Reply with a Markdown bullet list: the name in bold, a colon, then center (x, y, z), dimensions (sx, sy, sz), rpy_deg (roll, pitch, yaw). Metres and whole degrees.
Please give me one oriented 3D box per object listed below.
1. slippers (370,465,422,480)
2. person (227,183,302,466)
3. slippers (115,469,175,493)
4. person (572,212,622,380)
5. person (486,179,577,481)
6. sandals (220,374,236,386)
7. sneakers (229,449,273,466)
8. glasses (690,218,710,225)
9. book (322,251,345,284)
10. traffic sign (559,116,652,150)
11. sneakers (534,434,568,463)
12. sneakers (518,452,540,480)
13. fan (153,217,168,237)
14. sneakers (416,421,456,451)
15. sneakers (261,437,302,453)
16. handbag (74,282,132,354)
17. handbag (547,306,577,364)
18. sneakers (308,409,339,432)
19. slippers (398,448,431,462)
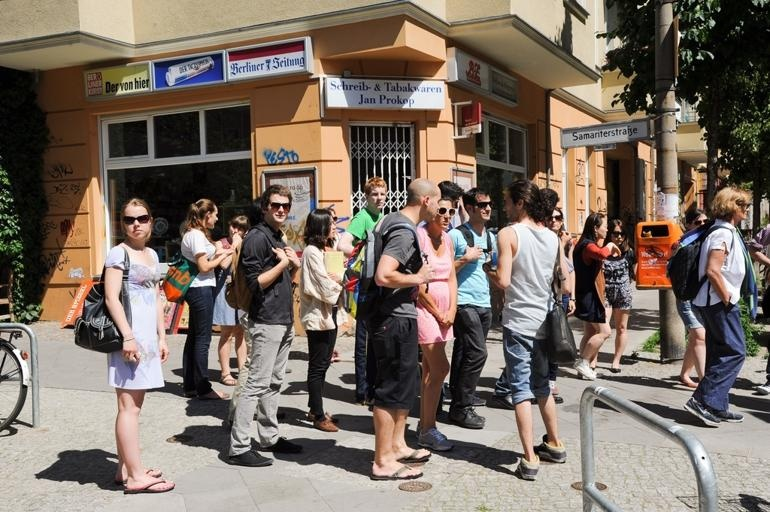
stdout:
- **slippers**: center (0.130, 2.131, 7.233), dimensions (0.387, 0.106, 0.191), rpy_deg (-2, 1, -1)
- **person**: center (-1.266, 0.701, 7.695), dimensions (0.661, 2.860, 0.939), rpy_deg (3, 9, 22)
- **slippers**: center (-2.335, 2.248, 7.115), dimensions (0.379, 0.140, 0.252), rpy_deg (0, 3, -16)
- **person**: center (2.934, 0.560, 10.208), dimensions (0.530, 2.293, 0.721), rpy_deg (1, 9, 14)
- **person**: center (1.493, 0.711, 7.444), dimensions (0.788, 2.927, 0.938), rpy_deg (1, 9, 14)
- **sandals**: center (-2.161, 1.705, 9.970), dimensions (0.156, 0.109, 0.272), rpy_deg (1, -4, -34)
- **sneakers**: center (-1.390, 2.119, 7.577), dimensions (0.357, 0.135, 0.189), rpy_deg (2, -4, 0)
- **glasses**: center (4.331, -0.485, 9.945), dimensions (0.118, 0.037, 0.122), rpy_deg (-14, 12, -16)
- **book**: center (-0.613, 0.137, 8.485), dimensions (0.341, 0.451, 0.241), rpy_deg (3, -9, -27)
- **traffic sign**: center (4.009, -2.243, 13.094), dimensions (0.449, 0.485, 2.275), rpy_deg (-4, 10, -20)
- **sneakers**: center (1.719, 2.044, 7.557), dimensions (0.172, 0.241, 0.481), rpy_deg (-7, 10, -37)
- **sneakers**: center (1.475, 2.112, 7.306), dimensions (0.266, 0.214, 0.243), rpy_deg (-2, 9, -5)
- **fan**: center (-4.526, -0.596, 14.601), dimensions (0.354, 0.363, 0.082), rpy_deg (11, -6, 5)
- **sneakers**: center (0.514, 1.974, 7.915), dimensions (0.476, 0.217, 0.180), rpy_deg (5, 6, 28)
- **sneakers**: center (-1.144, 2.062, 7.898), dimensions (0.482, 0.199, 0.165), rpy_deg (1, -5, 2)
- **handbag**: center (-2.795, 0.604, 6.992), dimensions (0.325, 0.665, 0.458), rpy_deg (-8, 12, -40)
- **handbag**: center (1.808, 0.814, 7.393), dimensions (0.317, 0.626, 0.394), rpy_deg (1, 9, 14)
- **sneakers**: center (-0.711, 1.910, 8.421), dimensions (0.418, 0.171, 0.170), rpy_deg (4, 8, 32)
- **slippers**: center (0.302, 2.073, 7.520), dimensions (0.262, 0.073, 0.148), rpy_deg (-4, 4, 9)
